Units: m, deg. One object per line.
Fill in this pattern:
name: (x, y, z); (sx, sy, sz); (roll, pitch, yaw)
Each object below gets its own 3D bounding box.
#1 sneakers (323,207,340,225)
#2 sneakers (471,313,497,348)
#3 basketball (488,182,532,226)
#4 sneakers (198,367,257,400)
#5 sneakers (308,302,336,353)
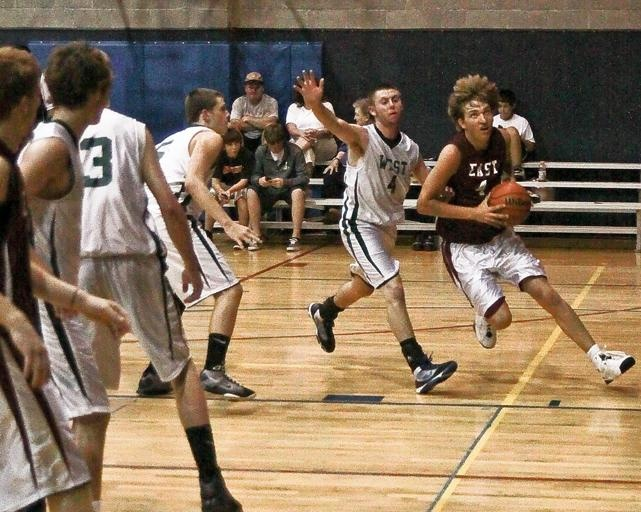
sneakers: (0.114, -0.421, 11.985); (0.121, 0.188, 0.068); (-2, 10, 3)
sneakers: (0.992, 0.473, 6.913); (0.102, 0.268, 0.098); (5, 45, 29)
basketball: (1.068, -0.303, 6.356); (0.211, 0.246, 0.270); (0, 13, 32)
sneakers: (-0.520, 0.682, 6.268); (0.348, 0.195, 0.136); (9, 1, -7)
sneakers: (0.018, 0.434, 7.112); (0.110, 0.361, 0.146); (-5, -20, -43)
